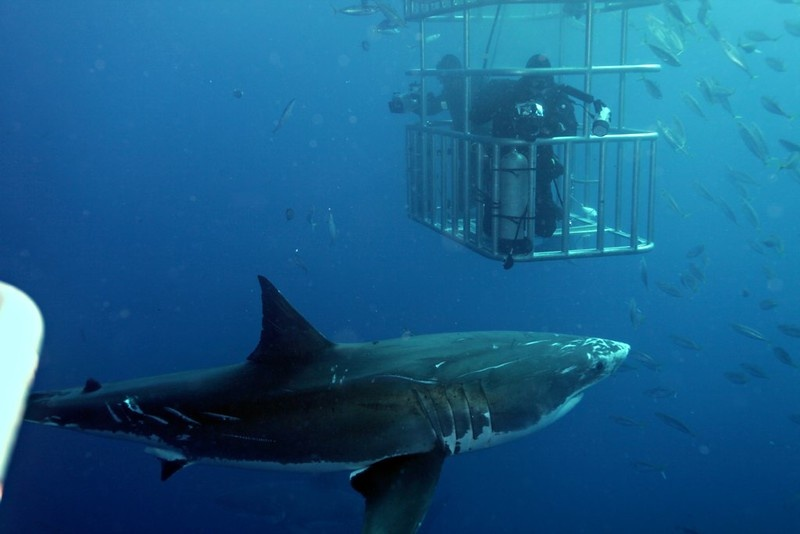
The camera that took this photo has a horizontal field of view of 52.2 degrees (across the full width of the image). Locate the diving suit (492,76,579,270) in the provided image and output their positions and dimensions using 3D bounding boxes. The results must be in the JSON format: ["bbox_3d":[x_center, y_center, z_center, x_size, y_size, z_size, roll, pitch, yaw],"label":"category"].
[{"bbox_3d":[1.808,-1.228,10.585,1.193,2.489,1.151,4,5,-13],"label":"diving suit"}]

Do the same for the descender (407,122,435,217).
[{"bbox_3d":[0.292,-1.404,12.042,0.374,1.390,0.359,-15,20,-43],"label":"descender"}]

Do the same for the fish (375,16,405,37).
[{"bbox_3d":[-0.151,-3.181,10.919,0.341,0.215,0.623,5,6,-8],"label":"fish"}]
